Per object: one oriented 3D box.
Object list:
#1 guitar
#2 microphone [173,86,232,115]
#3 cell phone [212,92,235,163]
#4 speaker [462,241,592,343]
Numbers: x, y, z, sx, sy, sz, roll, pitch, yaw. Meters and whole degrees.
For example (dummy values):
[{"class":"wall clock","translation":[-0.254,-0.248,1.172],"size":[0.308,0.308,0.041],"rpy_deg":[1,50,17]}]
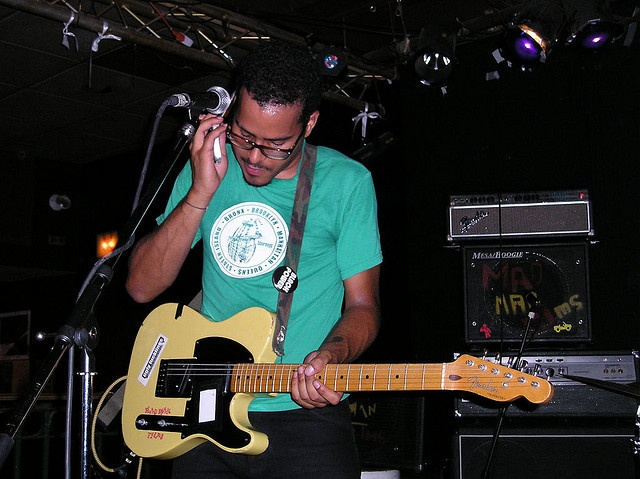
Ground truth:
[{"class":"guitar","translation":[-0.121,0.569,2.114],"size":[1.444,0.605,0.318],"rpy_deg":[0,-7,26]},{"class":"microphone","translation":[-0.419,-0.497,2.026],"size":[0.088,0.096,0.235],"rpy_deg":[29,27,35]},{"class":"cell phone","translation":[-0.363,-0.416,2.069],"size":[0.057,0.268,0.104],"rpy_deg":[7,11,13]},{"class":"speaker","translation":[1.265,0.332,3.350],"size":[0.547,0.522,0.218],"rpy_deg":[0,-13,5]}]
